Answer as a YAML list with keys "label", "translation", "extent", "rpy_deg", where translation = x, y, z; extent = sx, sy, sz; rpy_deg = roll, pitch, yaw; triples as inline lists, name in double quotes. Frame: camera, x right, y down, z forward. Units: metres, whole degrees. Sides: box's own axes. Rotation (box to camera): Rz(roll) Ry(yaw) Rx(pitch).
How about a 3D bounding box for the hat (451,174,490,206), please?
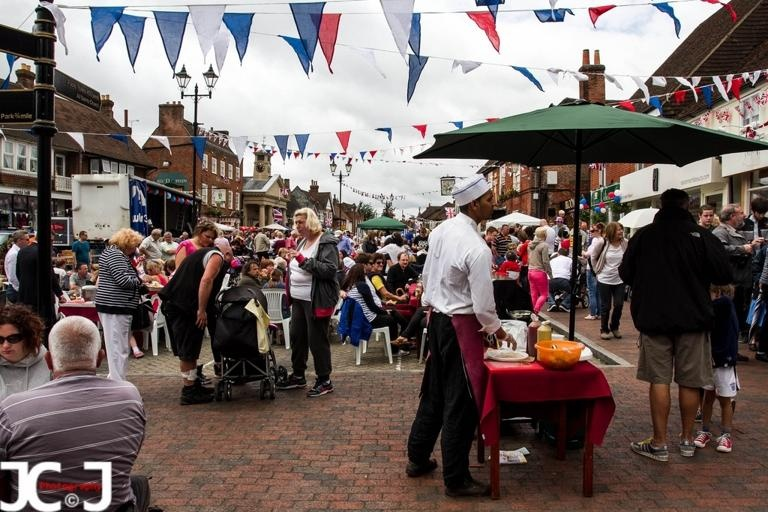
- label: "hat"
  translation: [0.943, -0.715, 8.365]
  extent: [0.418, 0.366, 0.319]
  rpy_deg: [-1, 13, 4]

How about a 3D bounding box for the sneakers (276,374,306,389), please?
- label: "sneakers"
  translation: [-1.338, 1.852, 11.311]
  extent: [0.493, 0.228, 0.169]
  rpy_deg: [3, -3, -5]

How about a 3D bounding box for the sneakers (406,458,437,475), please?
- label: "sneakers"
  translation: [0.408, 2.380, 8.573]
  extent: [0.384, 0.160, 0.131]
  rpy_deg: [-5, 8, -35]

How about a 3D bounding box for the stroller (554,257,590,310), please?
- label: "stroller"
  translation: [3.853, 0.536, 16.013]
  extent: [1.083, 1.114, 1.118]
  rpy_deg: [-1, 6, 16]

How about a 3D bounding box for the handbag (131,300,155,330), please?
- label: "handbag"
  translation: [-3.531, 0.863, 11.163]
  extent: [0.334, 0.501, 0.512]
  rpy_deg: [1, 1, 4]

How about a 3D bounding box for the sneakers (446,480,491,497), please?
- label: "sneakers"
  translation: [0.888, 2.471, 8.330]
  extent: [0.505, 0.213, 0.181]
  rpy_deg: [-2, -2, -6]

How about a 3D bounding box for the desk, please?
- label: "desk"
  translation: [1.683, 1.695, 8.359]
  extent: [1.438, 1.205, 1.443]
  rpy_deg: [0, -3, -1]
